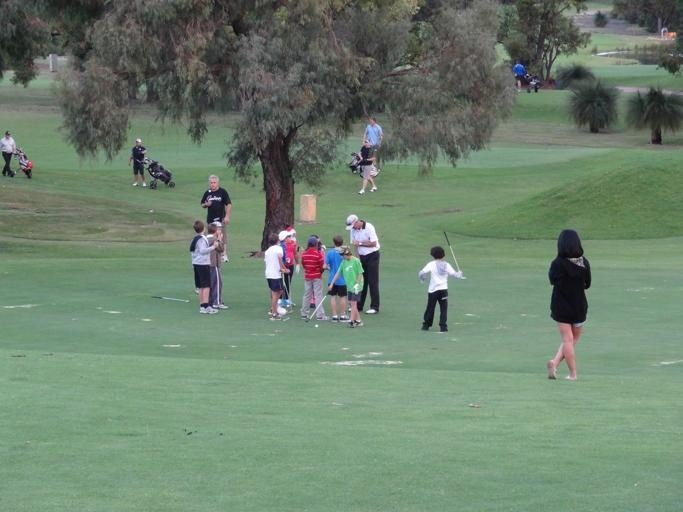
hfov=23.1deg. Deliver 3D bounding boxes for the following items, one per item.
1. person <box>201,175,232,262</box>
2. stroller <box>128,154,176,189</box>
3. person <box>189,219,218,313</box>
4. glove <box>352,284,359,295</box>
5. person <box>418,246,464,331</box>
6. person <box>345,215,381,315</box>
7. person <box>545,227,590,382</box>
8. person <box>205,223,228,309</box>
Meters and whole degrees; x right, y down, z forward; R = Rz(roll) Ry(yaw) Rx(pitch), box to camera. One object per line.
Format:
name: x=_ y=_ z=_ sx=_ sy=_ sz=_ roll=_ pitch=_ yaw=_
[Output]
person: x=-3.742 y=-1.023 z=49.307 sx=0.777 sy=3.301 sz=1.536 roll=0 pitch=6 yaw=-22
stroller: x=-7.497 y=-3.213 z=66.024 sx=1.520 sy=1.068 sz=1.242 roll=10 pitch=6 yaw=1
person: x=-3.711 y=0.277 z=44.616 sx=0.699 sy=2.469 sz=0.763 roll=-1 pitch=5 yaw=-5
glove: x=0.368 y=0.867 z=43.959 sx=0.205 sy=0.188 sz=0.353 roll=5 pitch=25 yaw=5
person: x=2.528 y=0.817 z=43.797 sx=0.965 sy=2.195 sz=1.189 roll=0 pitch=5 yaw=3
person: x=0.619 y=0.202 z=45.733 sx=0.989 sy=2.538 sz=0.835 roll=4 pitch=8 yaw=11
person: x=5.485 y=1.146 z=40.123 sx=0.982 sy=3.583 sz=0.931 roll=0 pitch=5 yaw=7
person: x=-3.416 y=0.260 z=45.144 sx=0.542 sy=2.023 sz=0.722 roll=7 pitch=8 yaw=-5
